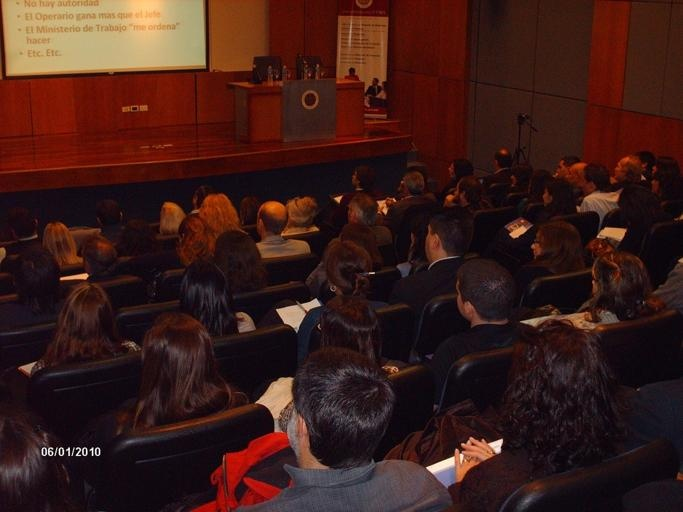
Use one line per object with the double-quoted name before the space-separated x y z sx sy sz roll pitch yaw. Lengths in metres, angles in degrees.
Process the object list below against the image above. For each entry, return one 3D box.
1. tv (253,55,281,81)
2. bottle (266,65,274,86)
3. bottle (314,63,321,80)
"tv" -1.202 -2.983 8.004 0.380 0.630 0.488 -4 29 -10
"bottle" -1.118 -2.850 7.900 0.103 0.297 0.423 -2 16 -8
"bottle" -0.387 -3.048 8.274 0.102 0.241 0.254 -1 15 -2
